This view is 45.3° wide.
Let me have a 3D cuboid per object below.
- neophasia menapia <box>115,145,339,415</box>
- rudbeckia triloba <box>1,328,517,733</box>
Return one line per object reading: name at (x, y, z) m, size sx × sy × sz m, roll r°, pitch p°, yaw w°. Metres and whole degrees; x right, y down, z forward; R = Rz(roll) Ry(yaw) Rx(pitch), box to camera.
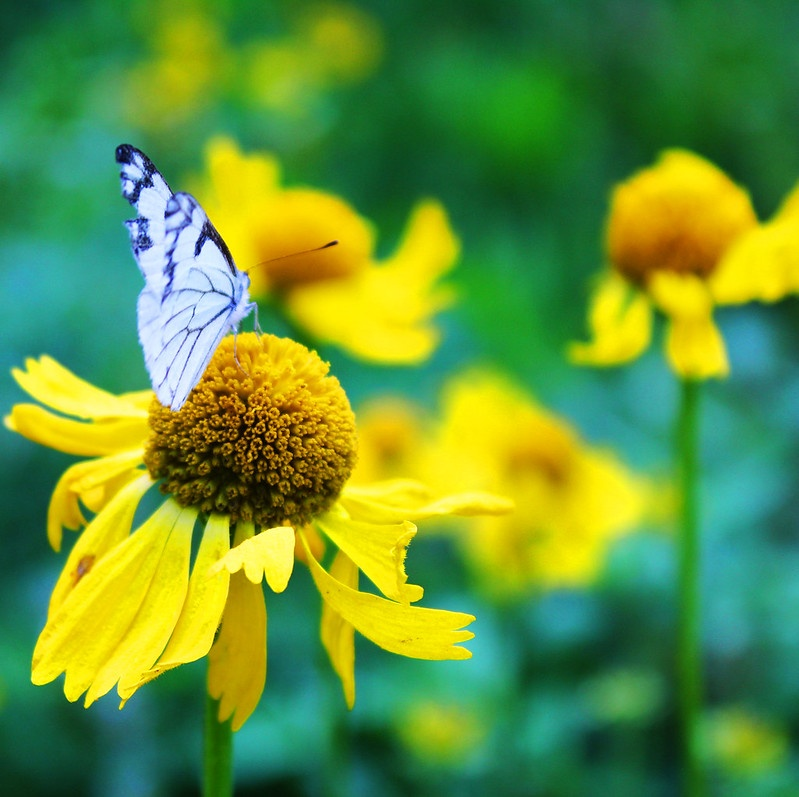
neophasia menapia at (-0.174, -0.118, 1.042) m, size 0.156 × 0.404 × 0.204 m, roll -15°, pitch -3°, yaw 2°
rudbeckia triloba at (-0.146, -0.020, 1.068) m, size 0.285 × 0.497 × 0.694 m, roll 3°, pitch 79°, yaw -15°
